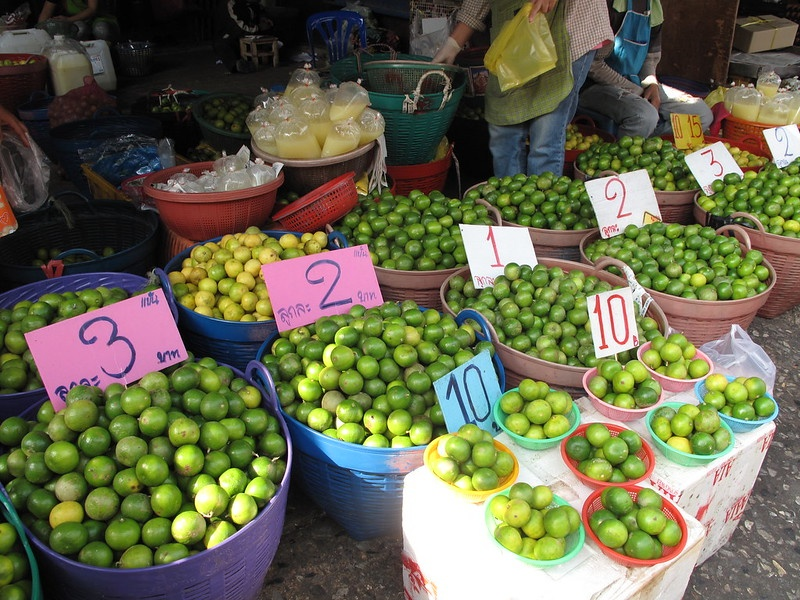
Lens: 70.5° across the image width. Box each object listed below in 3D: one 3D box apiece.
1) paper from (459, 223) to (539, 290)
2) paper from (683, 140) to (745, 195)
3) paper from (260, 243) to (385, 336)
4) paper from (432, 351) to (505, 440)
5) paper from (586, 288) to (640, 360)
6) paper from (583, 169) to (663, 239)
[{"bbox_3d":[0.614,-0.264,3.616,0.408,0.292,0.021,-15,-9,-31],"label":"paper"},{"bbox_3d":[2.589,-1.043,4.819,0.481,0.483,0.125,-26,6,-17],"label":"paper"},{"bbox_3d":[-0.437,-0.039,3.216,0.774,0.468,0.007,-17,8,-29],"label":"paper"},{"bbox_3d":[0.319,0.475,2.733,0.317,0.317,0.015,-28,12,-28],"label":"paper"},{"bbox_3d":[1.170,0.145,3.144,0.341,0.371,0.017,-12,3,-21],"label":"paper"},{"bbox_3d":[1.634,-0.696,4.196,0.561,0.398,0.026,-21,6,-24],"label":"paper"}]
